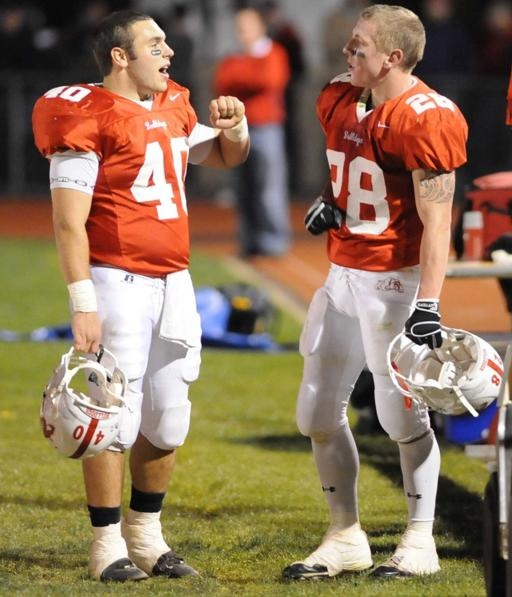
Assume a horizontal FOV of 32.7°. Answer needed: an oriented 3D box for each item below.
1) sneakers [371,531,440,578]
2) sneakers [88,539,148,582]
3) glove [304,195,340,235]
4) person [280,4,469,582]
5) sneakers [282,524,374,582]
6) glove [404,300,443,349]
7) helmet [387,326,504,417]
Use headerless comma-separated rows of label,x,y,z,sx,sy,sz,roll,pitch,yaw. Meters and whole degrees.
sneakers,0.470,0.796,2.751,0.112,0.147,0.310,-6,-8,43
sneakers,-0.435,0.813,2.733,0.121,0.122,0.322,-1,-6,-27
glove,0.234,-0.265,2.892,0.065,0.087,0.140,8,-28,-40
person,0.388,-0.018,2.787,0.542,1.814,0.502,2,7,17
sneakers,0.218,0.821,2.822,0.383,0.142,0.123,8,-13,-41
glove,0.491,0.074,2.529,0.146,0.123,0.068,4,-3,20
helmet,0.558,0.212,2.577,0.328,0.247,0.297,1,5,9
